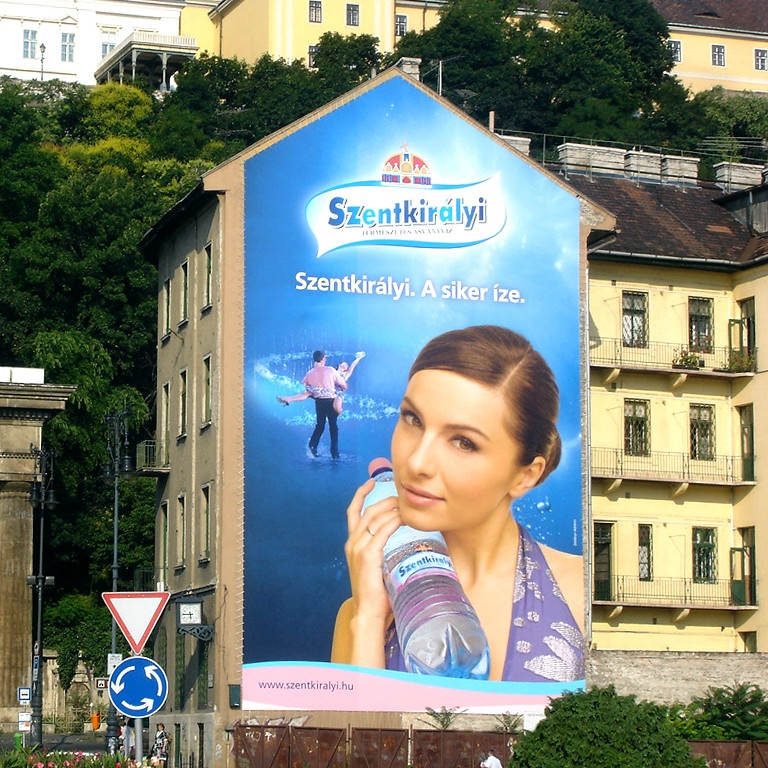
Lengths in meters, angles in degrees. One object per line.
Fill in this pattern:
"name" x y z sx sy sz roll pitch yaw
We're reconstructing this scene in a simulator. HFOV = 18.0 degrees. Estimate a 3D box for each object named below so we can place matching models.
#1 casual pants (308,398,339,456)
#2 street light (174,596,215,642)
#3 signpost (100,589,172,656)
"casual pants" -2.101 1.497 84.266 0.983 2.092 0.426 0 -3 -6
"street light" -6.591 8.140 84.082 1.792 2.119 0.426 2 -7 -16
"signpost" -6.062 5.842 58.780 1.459 1.528 0.958 0 -3 2
